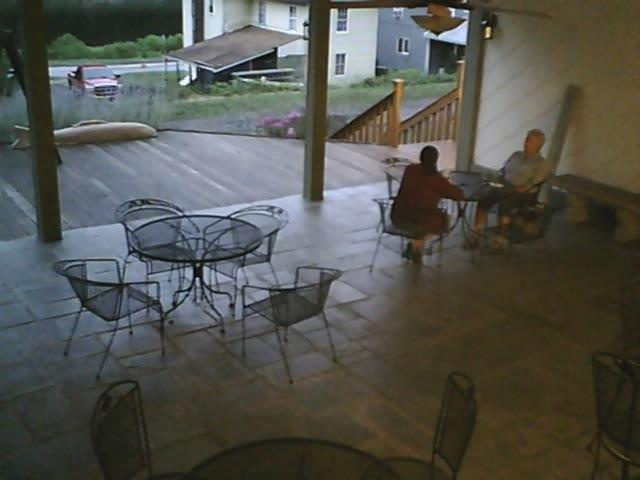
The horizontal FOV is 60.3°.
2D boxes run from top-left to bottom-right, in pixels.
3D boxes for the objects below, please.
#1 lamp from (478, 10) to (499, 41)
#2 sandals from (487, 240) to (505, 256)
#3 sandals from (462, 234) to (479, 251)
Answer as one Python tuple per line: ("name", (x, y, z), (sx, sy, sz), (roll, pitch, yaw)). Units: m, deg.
("lamp", (1.912, -2.467, 6.307), (0.104, 0.297, 0.229), (-7, 24, -20))
("sandals", (2.158, 0.082, 6.721), (0.122, 0.142, 0.226), (5, 30, 9))
("sandals", (1.901, 0.023, 6.965), (0.217, 0.199, 0.128), (5, 18, 7))
